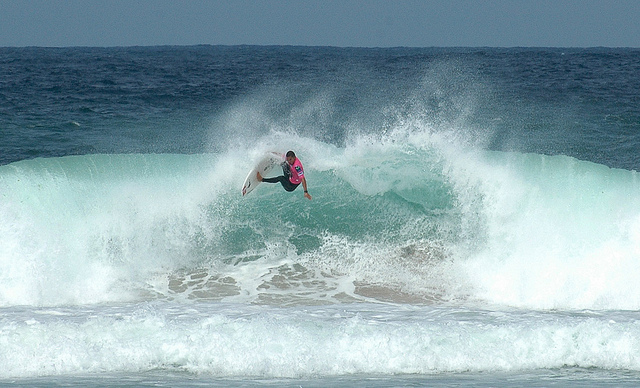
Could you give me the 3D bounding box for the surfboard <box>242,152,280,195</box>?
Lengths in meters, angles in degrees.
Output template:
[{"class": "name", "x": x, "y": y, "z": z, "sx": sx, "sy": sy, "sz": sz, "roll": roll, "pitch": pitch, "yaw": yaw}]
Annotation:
[{"class": "surfboard", "x": -2.090, "y": -0.707, "z": 27.520, "sx": 2.409, "sy": 0.478, "sz": 0.204, "roll": -40, "pitch": 17, "yaw": -20}]
